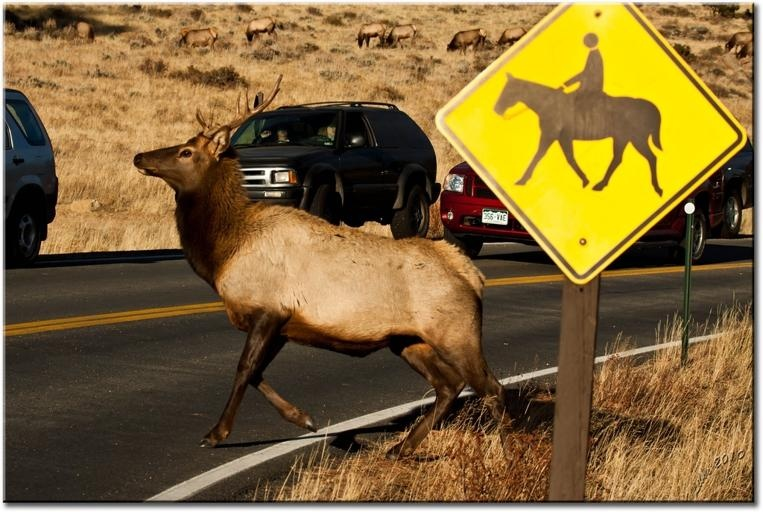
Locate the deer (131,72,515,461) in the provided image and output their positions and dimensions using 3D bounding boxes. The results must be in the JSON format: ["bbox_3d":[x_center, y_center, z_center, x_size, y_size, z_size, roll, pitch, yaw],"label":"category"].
[{"bbox_3d":[-0.481,0.271,8.357,2.999,2.723,1.033,2,8,7],"label":"deer"}]
